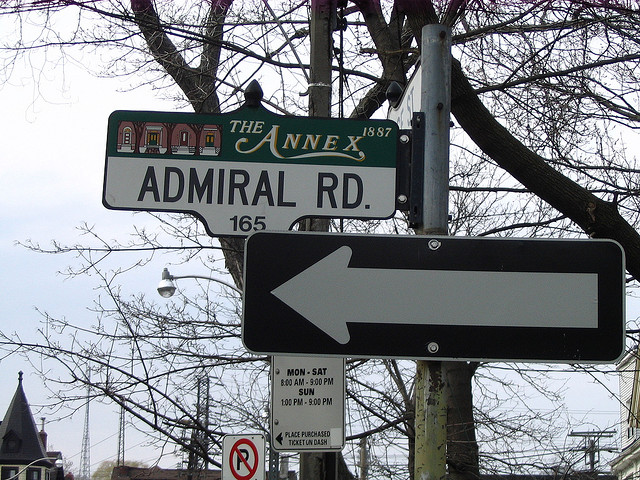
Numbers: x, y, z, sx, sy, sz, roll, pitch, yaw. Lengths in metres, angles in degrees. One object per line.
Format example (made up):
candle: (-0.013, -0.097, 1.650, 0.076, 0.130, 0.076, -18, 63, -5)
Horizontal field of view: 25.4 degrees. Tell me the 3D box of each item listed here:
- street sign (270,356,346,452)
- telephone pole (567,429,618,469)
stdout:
street sign: (-0.121, 1.586, 13.906, 0.740, 0.913, 0.377, 0, -21, -3)
telephone pole: (3.230, 2.535, 16.747, 0.612, 0.666, 0.191, -3, -28, 21)
